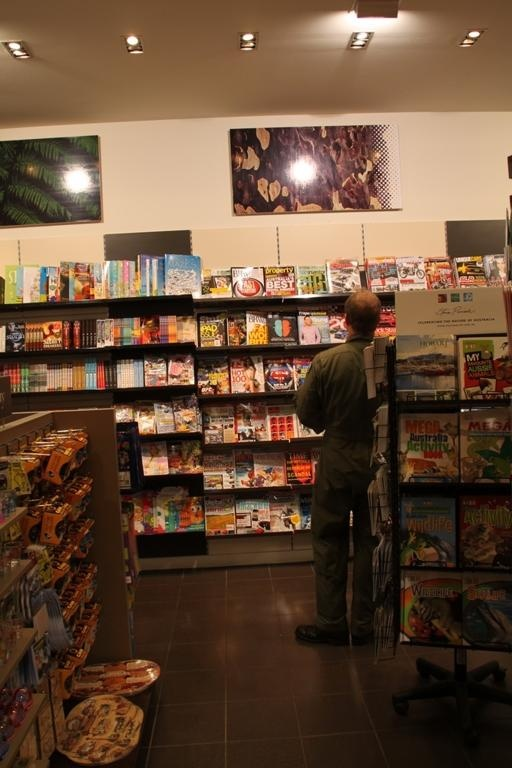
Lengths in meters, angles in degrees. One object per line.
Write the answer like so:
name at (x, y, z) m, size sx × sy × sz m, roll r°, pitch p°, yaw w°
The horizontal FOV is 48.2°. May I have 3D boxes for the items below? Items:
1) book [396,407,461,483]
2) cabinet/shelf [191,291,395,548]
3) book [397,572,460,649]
book at (0.603, 0.208, 1.969) m, size 0.247 × 0.302 × 0.032 m, roll 0°, pitch 4°, yaw 10°
cabinet/shelf at (0.170, 0.218, 3.425) m, size 1.622 × 1.712 × 0.543 m, roll -1°, pitch -5°, yaw -3°
book at (0.627, 0.799, 2.033) m, size 0.211 × 0.256 × 0.028 m, roll -1°, pitch 13°, yaw 8°
